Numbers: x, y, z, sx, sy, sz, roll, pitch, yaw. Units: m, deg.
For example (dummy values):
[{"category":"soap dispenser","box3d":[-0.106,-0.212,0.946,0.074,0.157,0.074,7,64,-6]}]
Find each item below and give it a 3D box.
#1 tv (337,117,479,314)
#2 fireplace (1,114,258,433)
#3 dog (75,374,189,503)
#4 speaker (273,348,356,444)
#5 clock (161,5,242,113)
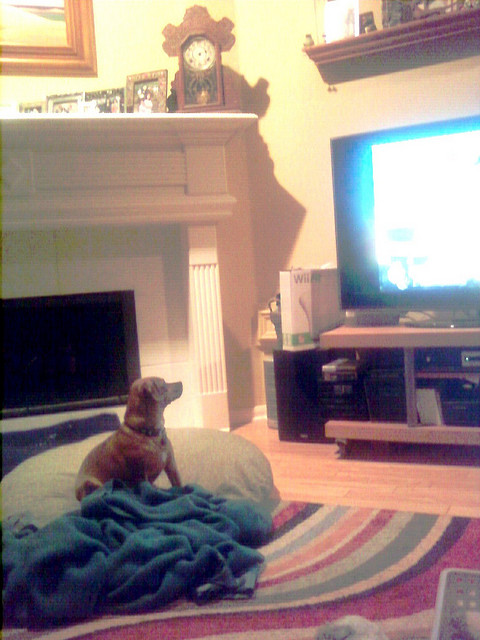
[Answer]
[{"category":"tv","box3d":[0.647,-0.391,2.011,0.596,0.750,0.065,0,6,33]},{"category":"fireplace","box3d":[-0.517,-0.190,2.323,0.988,1.432,0.332,-2,10,-25]},{"category":"dog","box3d":[-0.343,0.393,1.650,0.347,0.446,0.254,-7,-8,25]},{"category":"speaker","box3d":[0.273,0.288,2.357,0.301,0.553,0.331,-1,5,-1]},{"category":"clock","box3d":[-0.189,-1.192,2.426,0.328,0.485,0.138,0,10,-12]}]
